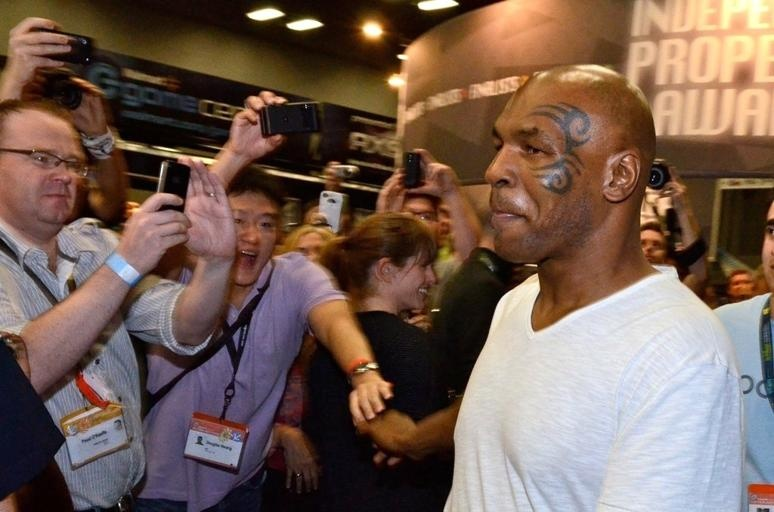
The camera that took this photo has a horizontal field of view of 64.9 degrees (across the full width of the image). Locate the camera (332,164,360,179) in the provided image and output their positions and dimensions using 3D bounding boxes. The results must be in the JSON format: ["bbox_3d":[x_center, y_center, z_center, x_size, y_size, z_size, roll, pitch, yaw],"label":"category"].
[{"bbox_3d":[-0.501,-0.865,6.173,0.409,0.119,0.273,-1,4,9],"label":"camera"}]

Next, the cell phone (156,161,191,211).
[{"bbox_3d":[-0.893,-0.316,2.526,0.093,0.159,0.169,10,5,16],"label":"cell phone"}]

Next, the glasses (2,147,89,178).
[{"bbox_3d":[-1.469,-0.403,2.613,0.341,0.093,0.130,3,6,-40],"label":"glasses"}]

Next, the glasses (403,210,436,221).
[{"bbox_3d":[0.216,-0.287,4.254,0.199,0.072,0.149,22,-7,-34],"label":"glasses"}]
